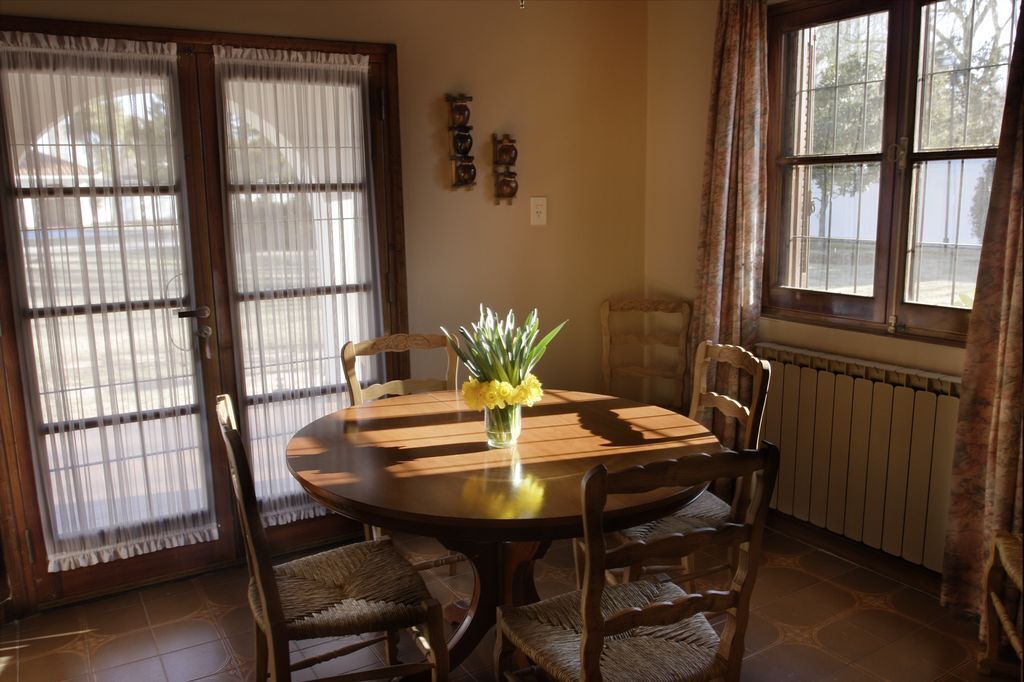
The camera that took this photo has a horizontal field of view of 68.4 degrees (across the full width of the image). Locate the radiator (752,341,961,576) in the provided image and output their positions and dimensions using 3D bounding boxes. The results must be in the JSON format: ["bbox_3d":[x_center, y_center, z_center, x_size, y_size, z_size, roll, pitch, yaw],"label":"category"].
[{"bbox_3d":[1.822,0.606,3.896,0.098,0.973,1.143,-3,9,-32],"label":"radiator"}]

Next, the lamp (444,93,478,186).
[{"bbox_3d":[-0.296,-1.165,4.400,0.166,0.547,0.118,-5,13,-9],"label":"lamp"}]

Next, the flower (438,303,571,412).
[{"bbox_3d":[-0.006,0.133,3.170,0.469,0.441,0.466,6,12,31],"label":"flower"}]

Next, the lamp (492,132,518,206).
[{"bbox_3d":[-0.043,-1.027,4.526,0.208,0.368,0.088,-5,13,-34],"label":"lamp"}]
